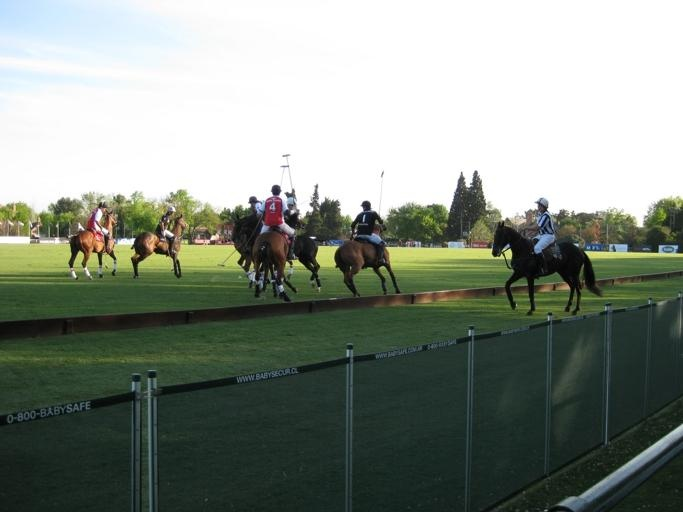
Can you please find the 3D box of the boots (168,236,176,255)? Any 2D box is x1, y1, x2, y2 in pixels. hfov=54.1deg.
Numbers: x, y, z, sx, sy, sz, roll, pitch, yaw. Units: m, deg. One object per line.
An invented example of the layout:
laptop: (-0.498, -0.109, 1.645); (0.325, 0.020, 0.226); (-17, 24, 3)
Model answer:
boots: (-5.899, -0.373, 23.024); (0.234, 0.660, 0.322); (4, 3, -10)

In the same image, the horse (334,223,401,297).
horse: (0.731, 0.168, 17.275); (2.338, 1.876, 0.611); (-10, -12, -46)

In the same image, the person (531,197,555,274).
person: (4.579, -0.446, 15.062); (0.468, 1.465, 0.936); (5, 3, 16)

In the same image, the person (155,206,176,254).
person: (-6.199, -0.867, 23.213); (0.646, 1.697, 1.265); (4, 3, -16)

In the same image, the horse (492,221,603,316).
horse: (4.780, 0.342, 15.371); (2.774, 1.999, 0.673); (3, -6, -13)

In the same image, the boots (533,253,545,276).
boots: (4.395, 0.154, 14.840); (0.280, 0.505, 0.111); (-3, 4, -33)

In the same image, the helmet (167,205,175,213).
helmet: (-5.984, -1.630, 23.159); (0.235, 0.180, 0.353); (-2, 1, -42)
